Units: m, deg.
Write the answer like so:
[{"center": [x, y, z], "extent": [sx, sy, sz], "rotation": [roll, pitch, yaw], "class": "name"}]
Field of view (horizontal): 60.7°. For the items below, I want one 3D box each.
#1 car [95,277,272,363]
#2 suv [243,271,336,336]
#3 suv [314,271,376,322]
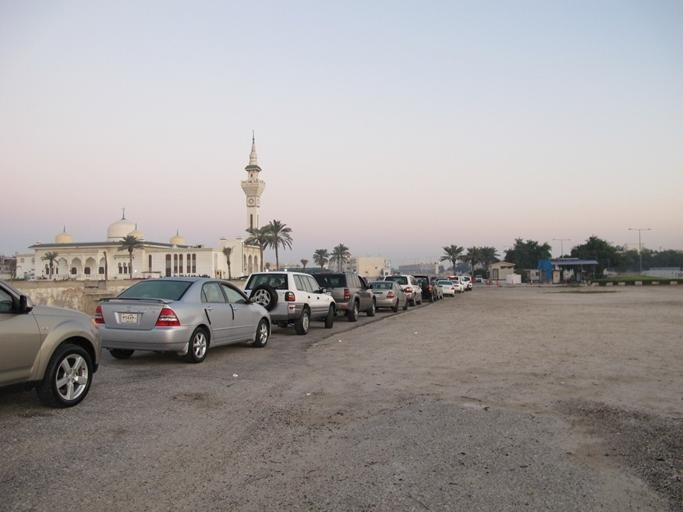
[{"center": [-3.155, 1.273, 12.165], "extent": [1.419, 1.621, 3.330], "rotation": [2, 3, 33], "class": "car"}, {"center": [-1.518, 1.220, 17.119], "extent": [1.417, 1.168, 2.768], "rotation": [0, 0, 21], "class": "suv"}, {"center": [0.141, 1.382, 22.239], "extent": [1.293, 1.102, 2.648], "rotation": [0, 2, 20], "class": "suv"}]
